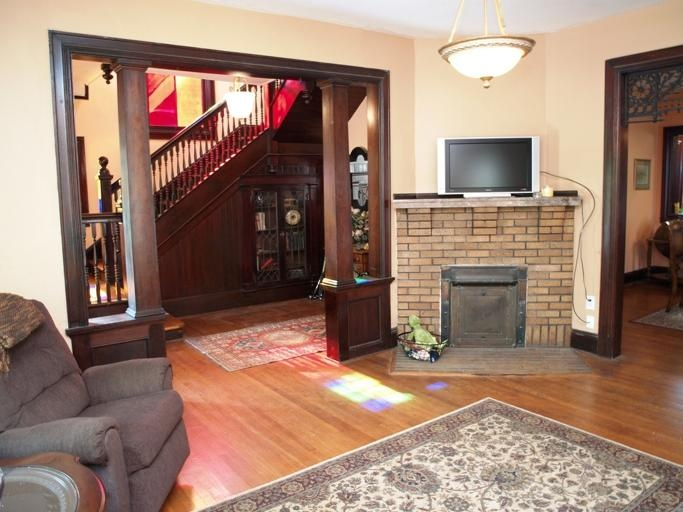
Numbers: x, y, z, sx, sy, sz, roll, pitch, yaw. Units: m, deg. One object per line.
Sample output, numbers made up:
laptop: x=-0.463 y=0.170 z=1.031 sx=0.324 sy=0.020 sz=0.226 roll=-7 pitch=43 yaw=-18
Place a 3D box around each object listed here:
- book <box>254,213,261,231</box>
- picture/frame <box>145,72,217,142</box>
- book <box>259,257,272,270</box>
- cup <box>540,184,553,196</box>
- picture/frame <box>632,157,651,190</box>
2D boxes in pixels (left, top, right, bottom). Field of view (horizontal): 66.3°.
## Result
book: x=-1.206 y=-0.491 z=7.602 sx=0.127 sy=0.254 sz=0.030 roll=-7 pitch=11 yaw=-36
picture/frame: x=-2.745 y=-2.531 z=8.959 sx=1.076 sy=1.077 sz=0.367 roll=-4 pitch=10 yaw=-20
book: x=-1.142 y=0.112 z=7.681 sx=0.056 sy=0.044 sz=0.228 roll=38 pitch=25 yaw=12
cup: x=2.102 y=-0.673 z=5.351 sx=0.109 sy=0.123 sz=0.111 roll=-2 pitch=11 yaw=0
picture/frame: x=4.743 y=-1.319 z=8.293 sx=0.507 sy=0.543 sz=0.044 roll=-9 pitch=13 yaw=-37
